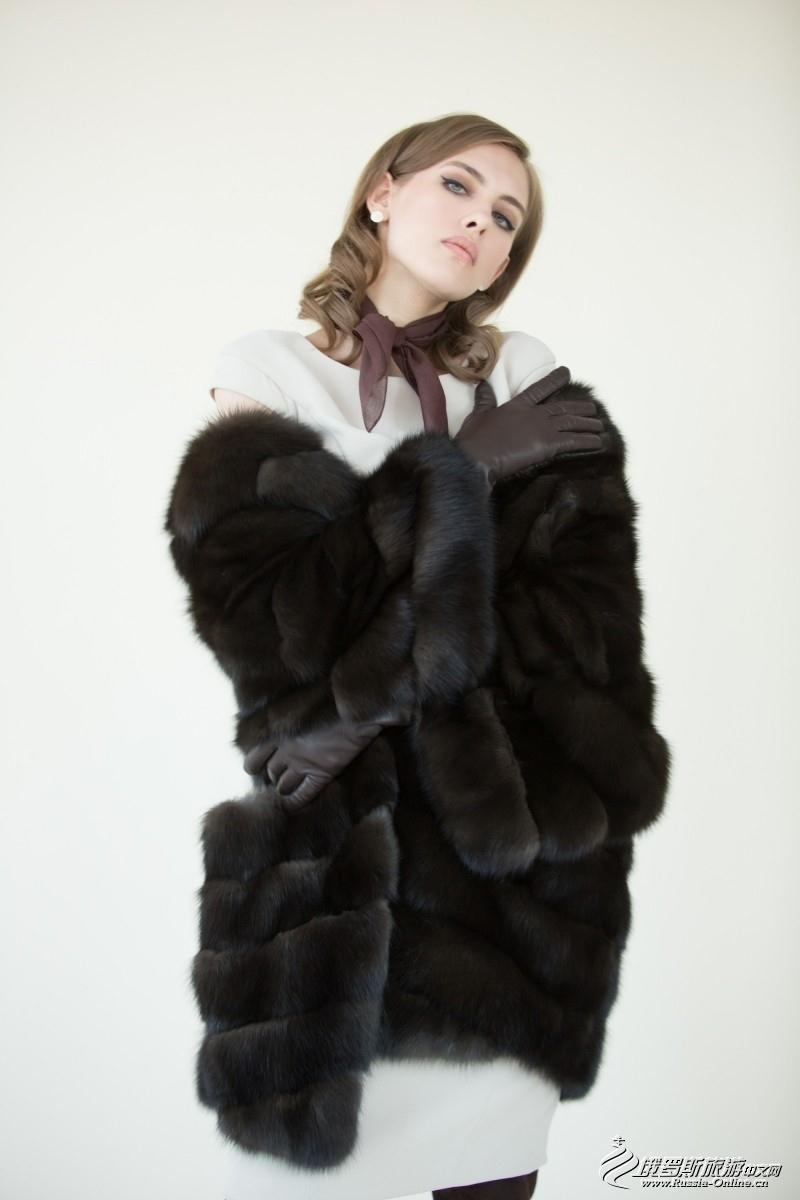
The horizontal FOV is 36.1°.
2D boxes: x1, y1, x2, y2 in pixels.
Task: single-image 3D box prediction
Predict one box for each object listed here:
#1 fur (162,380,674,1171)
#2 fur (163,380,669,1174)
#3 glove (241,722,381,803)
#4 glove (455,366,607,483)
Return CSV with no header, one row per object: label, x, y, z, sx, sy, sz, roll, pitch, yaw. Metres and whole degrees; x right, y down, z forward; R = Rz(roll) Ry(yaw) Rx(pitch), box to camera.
fur,0.015,0.216,1.695,0.762,0.856,0.305,-1,0,-4
fur,0.035,0.191,1.683,0.751,0.860,0.278,-1,0,-1
glove,-0.154,0.209,1.648,0.129,0.062,0.212,16,5,7
glove,0.186,-0.237,1.698,0.201,0.046,0.154,-14,47,-18
